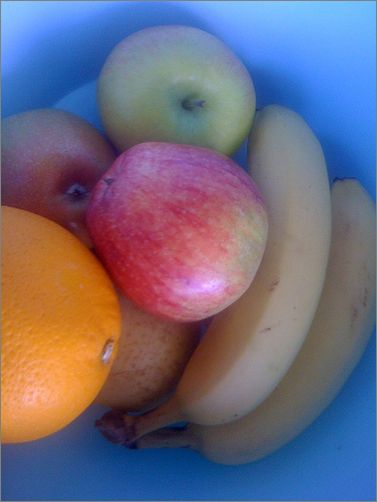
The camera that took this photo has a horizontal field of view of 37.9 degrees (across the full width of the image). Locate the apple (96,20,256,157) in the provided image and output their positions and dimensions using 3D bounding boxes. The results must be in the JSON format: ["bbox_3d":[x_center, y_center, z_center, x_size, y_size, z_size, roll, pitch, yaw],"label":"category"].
[{"bbox_3d":[-0.032,-0.253,0.930,0.240,0.215,0.208,-1,105,-8],"label":"apple"}]
